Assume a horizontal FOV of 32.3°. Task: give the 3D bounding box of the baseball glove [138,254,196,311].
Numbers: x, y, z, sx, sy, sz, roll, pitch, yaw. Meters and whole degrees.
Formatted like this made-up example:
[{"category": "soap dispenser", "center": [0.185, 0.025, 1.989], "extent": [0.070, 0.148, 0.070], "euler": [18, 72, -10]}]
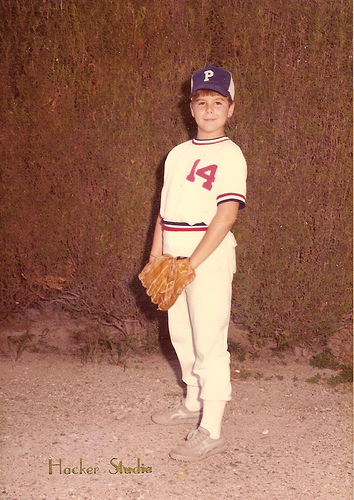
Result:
[{"category": "baseball glove", "center": [-0.016, 0.141, 3.040], "extent": [0.290, 0.260, 0.272], "euler": [-2, 8, 6]}]
